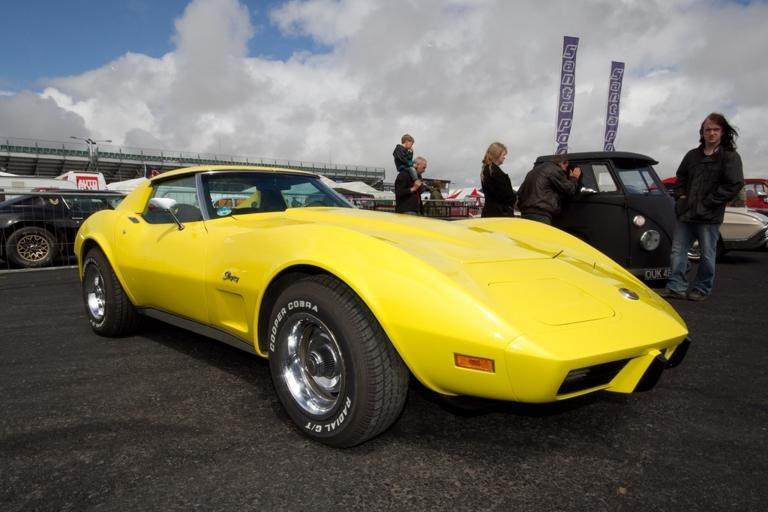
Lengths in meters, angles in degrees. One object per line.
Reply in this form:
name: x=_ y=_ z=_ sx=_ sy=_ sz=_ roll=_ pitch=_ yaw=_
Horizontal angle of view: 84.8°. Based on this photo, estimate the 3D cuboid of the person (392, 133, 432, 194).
person: x=0.451 y=-1.637 z=7.323 sx=0.499 sy=0.868 sz=0.362 roll=0 pitch=15 yaw=0

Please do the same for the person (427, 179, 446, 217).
person: x=1.204 y=-1.229 z=9.434 sx=0.305 sy=1.009 sz=0.281 roll=10 pitch=48 yaw=19

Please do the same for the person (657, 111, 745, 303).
person: x=4.139 y=-0.593 z=5.495 sx=0.503 sy=2.292 sz=0.729 roll=3 pitch=5 yaw=-31

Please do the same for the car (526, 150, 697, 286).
car: x=3.257 y=-0.590 z=7.280 sx=3.264 sy=2.335 sz=2.146 roll=1 pitch=4 yaw=33

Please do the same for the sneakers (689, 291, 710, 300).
sneakers: x=4.146 y=0.513 z=5.564 sx=0.314 sy=0.125 sz=0.114 roll=5 pitch=-5 yaw=-42
